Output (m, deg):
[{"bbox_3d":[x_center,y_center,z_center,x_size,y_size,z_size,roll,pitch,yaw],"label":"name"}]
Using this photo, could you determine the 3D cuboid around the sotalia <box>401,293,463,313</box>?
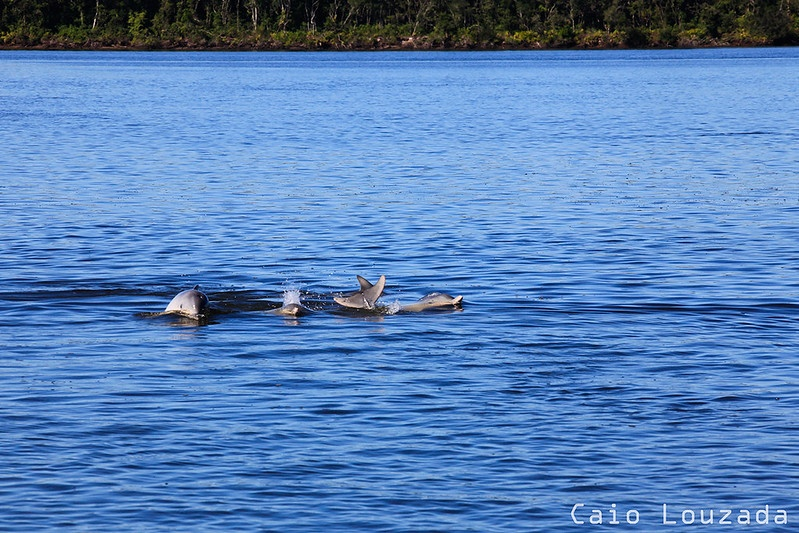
[{"bbox_3d":[1.059,1.154,55.170,2.246,0.524,0.632,-4,8,0],"label":"sotalia"}]
